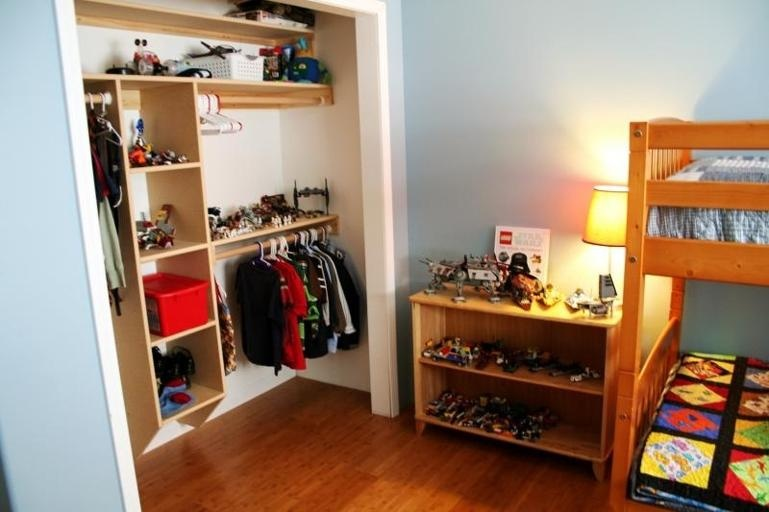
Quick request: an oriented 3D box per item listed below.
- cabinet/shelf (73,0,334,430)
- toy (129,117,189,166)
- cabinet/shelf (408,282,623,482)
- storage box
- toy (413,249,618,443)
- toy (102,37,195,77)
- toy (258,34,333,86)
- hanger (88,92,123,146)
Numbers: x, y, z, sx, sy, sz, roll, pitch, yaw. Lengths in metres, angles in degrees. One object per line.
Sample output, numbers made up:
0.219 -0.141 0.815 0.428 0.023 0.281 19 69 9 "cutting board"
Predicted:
-1.201 -0.180 3.853 0.729 2.883 1.715 7 18 32 "cabinet/shelf"
-1.432 -0.724 3.367 0.303 0.323 0.345 8 18 13 "toy"
0.858 0.790 3.694 1.384 1.033 0.508 4 14 35 "cabinet/shelf"
-1.376 0.304 3.512 0.406 0.289 0.357 10 20 40 "storage box"
0.917 0.612 3.657 1.246 1.084 0.488 4 8 34 "toy"
-1.467 -1.206 3.407 0.384 0.201 0.223 -13 33 -21 "toy"
-0.724 -1.460 4.176 0.501 0.334 0.330 4 12 -13 "toy"
-1.564 -0.753 3.052 0.412 0.281 0.060 10 13 32 "hanger"
